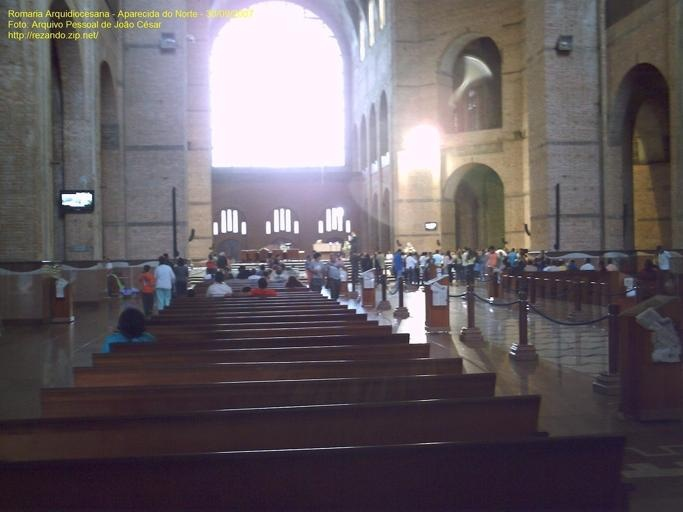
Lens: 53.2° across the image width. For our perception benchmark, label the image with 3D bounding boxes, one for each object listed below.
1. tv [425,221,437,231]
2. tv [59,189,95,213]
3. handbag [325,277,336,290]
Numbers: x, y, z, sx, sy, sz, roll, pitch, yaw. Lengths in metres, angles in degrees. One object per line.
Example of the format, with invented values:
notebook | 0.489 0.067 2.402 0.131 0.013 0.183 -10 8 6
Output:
tv | 4.042 -1.369 30.762 0.557 0.417 0.137 1 1 14
tv | -6.725 -1.404 17.349 0.943 0.697 0.528 0 3 -4
handbag | -0.307 0.708 18.090 0.278 0.501 0.358 3 -6 -5
